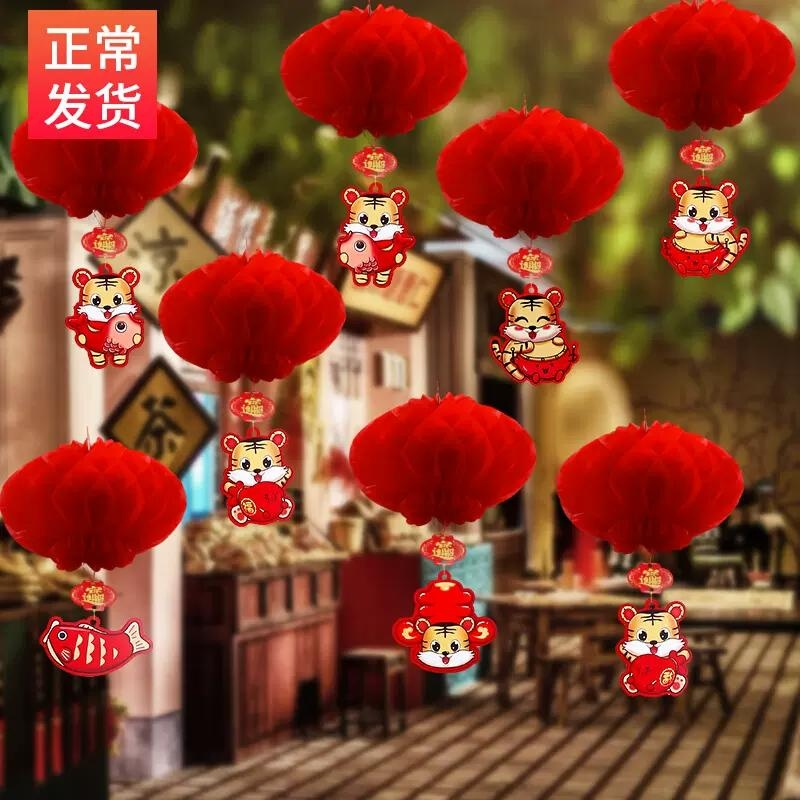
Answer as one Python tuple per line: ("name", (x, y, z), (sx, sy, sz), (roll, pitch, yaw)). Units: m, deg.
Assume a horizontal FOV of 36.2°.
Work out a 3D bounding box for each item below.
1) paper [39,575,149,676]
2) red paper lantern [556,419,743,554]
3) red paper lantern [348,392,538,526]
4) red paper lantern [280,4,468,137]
("paper", (-0.844, 0.643, 3.396), (0.374, 0.265, 0.006), (-3, -7, 22))
("red paper lantern", (0.646, 0.222, 3.235), (0.447, 0.355, 0.263), (1, 28, 4))
("red paper lantern", (0.104, 0.151, 3.221), (0.438, 0.373, 0.264), (2, 56, -5))
("red paper lantern", (-0.074, -0.829, 3.068), (0.440, 0.248, 0.383), (1, -21, -4))
